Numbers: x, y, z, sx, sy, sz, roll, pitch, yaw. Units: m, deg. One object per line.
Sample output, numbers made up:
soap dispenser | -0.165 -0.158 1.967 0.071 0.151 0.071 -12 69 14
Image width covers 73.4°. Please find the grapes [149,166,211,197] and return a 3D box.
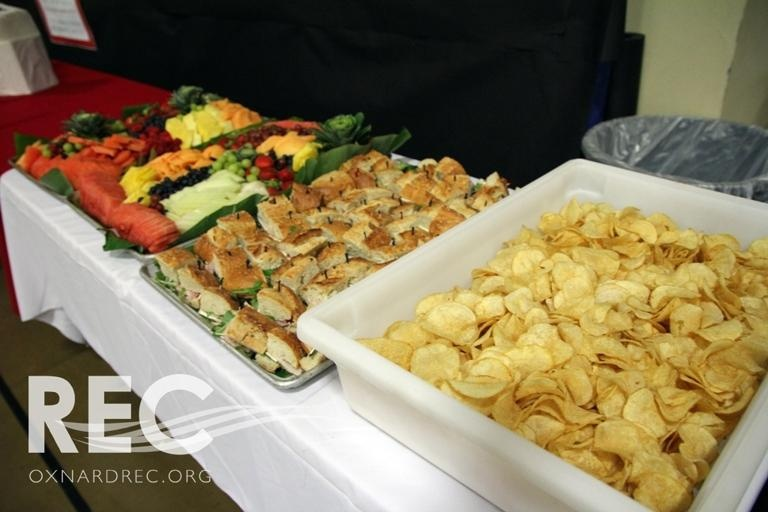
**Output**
grapes | -0.816 -0.294 2.072 0.114 0.041 0.193 19 46 38

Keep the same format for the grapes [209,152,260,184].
grapes | -0.614 -0.379 2.144 0.155 0.071 0.190 -2 16 -14
